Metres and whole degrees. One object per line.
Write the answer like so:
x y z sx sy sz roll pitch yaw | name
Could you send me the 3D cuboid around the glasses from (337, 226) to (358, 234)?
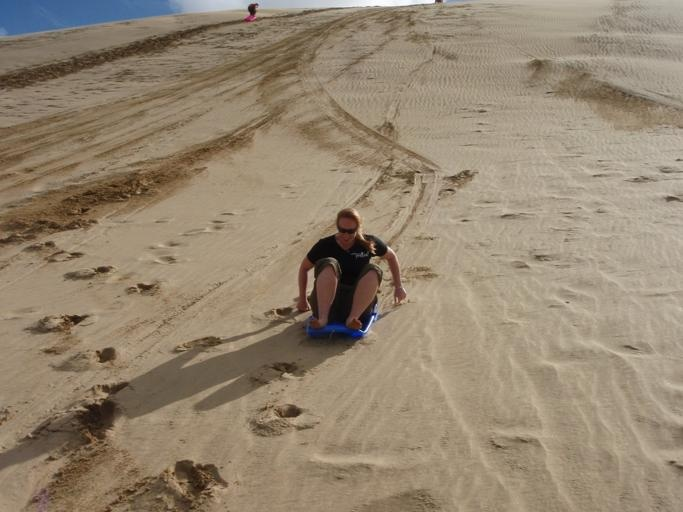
0.069 -0.260 6.832 0.180 0.076 0.049 2 61 0 | glasses
